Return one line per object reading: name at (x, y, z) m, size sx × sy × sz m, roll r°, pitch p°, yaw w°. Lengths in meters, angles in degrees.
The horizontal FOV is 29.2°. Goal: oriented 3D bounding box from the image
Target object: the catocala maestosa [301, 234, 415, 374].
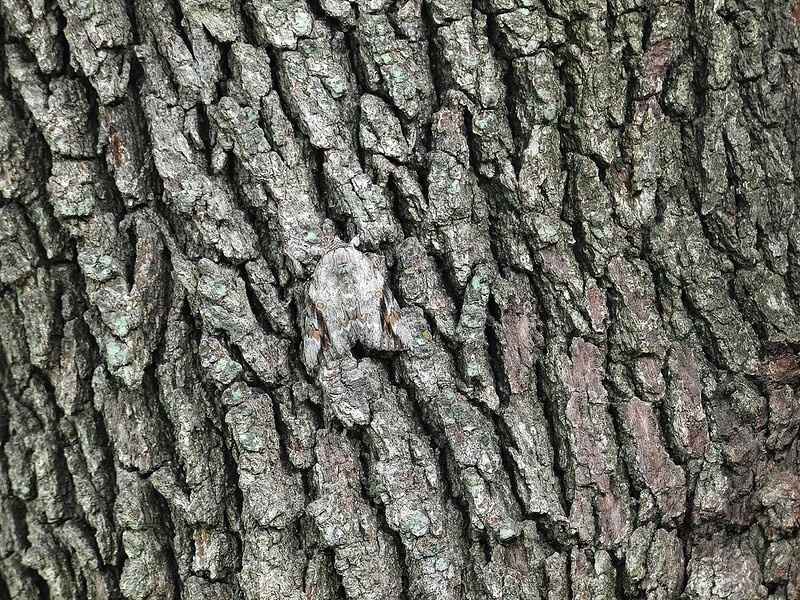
catocala maestosa at (-0.274, 0.081, 8.236) m, size 0.508 × 0.207 × 0.756 m, roll -11°, pitch -85°, yaw 1°
